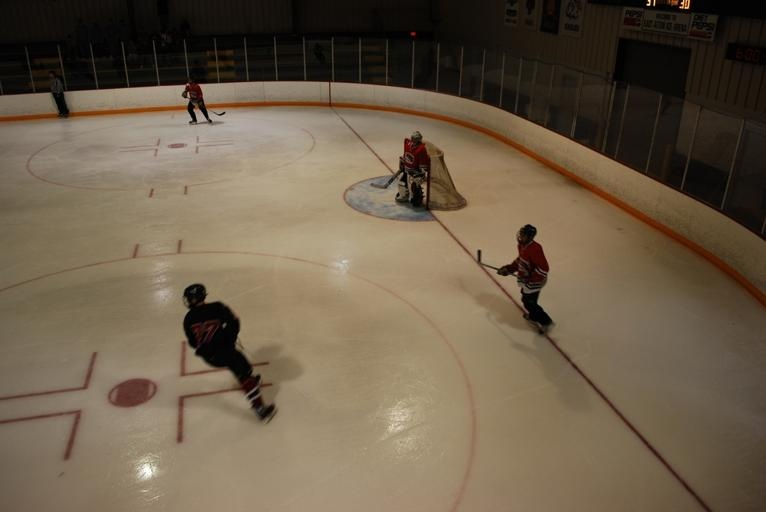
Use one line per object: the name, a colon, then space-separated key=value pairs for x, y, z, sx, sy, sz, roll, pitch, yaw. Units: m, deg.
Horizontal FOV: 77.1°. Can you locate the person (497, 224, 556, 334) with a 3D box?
person: x=2.553 y=0.488 z=8.585 sx=0.734 sy=1.887 sz=0.705 roll=-27 pitch=50 yaw=2

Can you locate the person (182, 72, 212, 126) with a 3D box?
person: x=-7.011 y=-5.847 z=18.038 sx=0.731 sy=1.557 sz=2.059 roll=-10 pitch=26 yaw=-19

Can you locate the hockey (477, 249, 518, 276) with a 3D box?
hockey: x=2.217 y=0.173 z=8.992 sx=0.975 sy=0.365 sz=0.296 roll=20 pitch=4 yaw=-17

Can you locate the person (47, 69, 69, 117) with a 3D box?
person: x=-12.344 y=-6.161 z=18.327 sx=0.545 sy=1.883 sz=0.823 roll=-10 pitch=41 yaw=-25

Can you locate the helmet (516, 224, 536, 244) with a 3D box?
helmet: x=2.295 y=-0.361 z=7.723 sx=0.251 sy=0.314 sz=0.288 roll=4 pitch=25 yaw=12

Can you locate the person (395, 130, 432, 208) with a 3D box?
person: x=0.729 y=-2.124 z=11.708 sx=0.821 sy=1.817 sz=0.692 roll=-1 pitch=24 yaw=2
